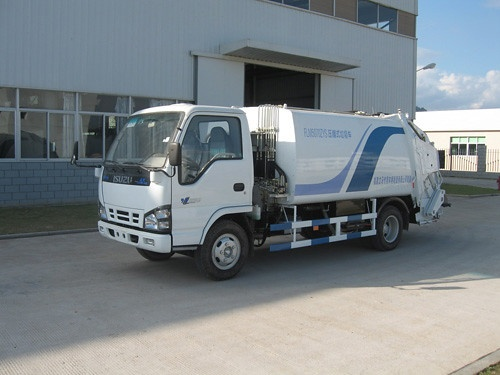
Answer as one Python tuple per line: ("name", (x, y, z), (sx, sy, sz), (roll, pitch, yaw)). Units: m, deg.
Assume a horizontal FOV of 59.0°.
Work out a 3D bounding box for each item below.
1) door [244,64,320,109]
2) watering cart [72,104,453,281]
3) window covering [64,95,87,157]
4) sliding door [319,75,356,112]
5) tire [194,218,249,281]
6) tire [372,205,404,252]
("door", (1.361, -6.834, 29.786), (3.730, 2.643, 0.124), (-2, 9, -16))
("watering cart", (1.252, -0.137, 10.248), (9.113, 3.367, 2.238), (-4, 8, -34))
("window covering", (-6.832, -2.377, 17.069), (0.748, 3.028, 0.368), (2, 42, -16))
("sliding door", (4.868, -5.341, 24.718), (1.904, 1.951, 0.785), (6, 23, 24))
("tire", (-0.537, 1.107, 8.006), (0.843, 0.988, 0.315), (-13, 17, -35))
("tire", (3.284, 0.980, 10.632), (0.867, 1.080, 0.321), (-7, 13, -44))
